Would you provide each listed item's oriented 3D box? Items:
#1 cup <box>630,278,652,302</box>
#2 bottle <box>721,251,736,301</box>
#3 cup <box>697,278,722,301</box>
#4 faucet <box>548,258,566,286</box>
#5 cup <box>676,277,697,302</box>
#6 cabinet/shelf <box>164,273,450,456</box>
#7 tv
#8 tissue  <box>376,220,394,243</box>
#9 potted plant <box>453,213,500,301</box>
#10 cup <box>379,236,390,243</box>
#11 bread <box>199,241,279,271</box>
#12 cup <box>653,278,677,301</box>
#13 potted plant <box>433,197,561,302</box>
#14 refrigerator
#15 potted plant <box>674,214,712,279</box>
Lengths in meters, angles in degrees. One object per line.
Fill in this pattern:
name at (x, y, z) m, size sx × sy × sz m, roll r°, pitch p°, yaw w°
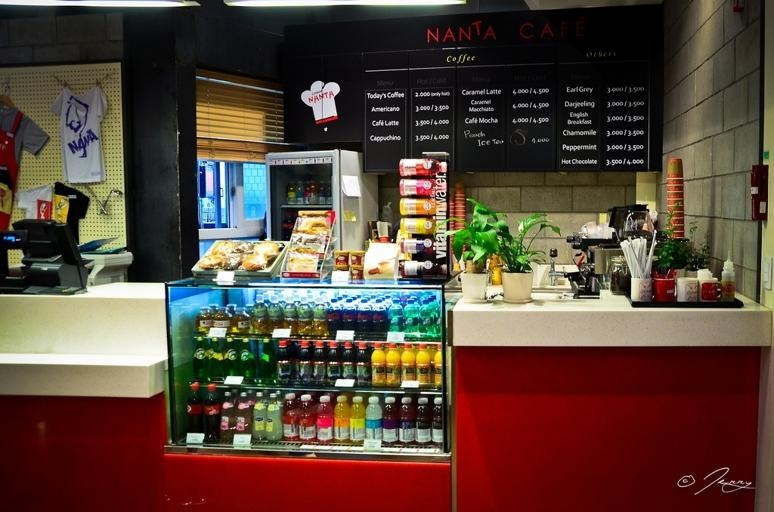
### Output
cup at (1.580, 0.212, 3.812) m, size 0.125 × 0.133 × 0.139 m, roll 1°, pitch -4°, yaw -13°
bottle at (2.111, 0.132, 3.730) m, size 0.071 × 0.289 × 0.164 m, roll -2°, pitch -3°, yaw 38°
cup at (1.989, 0.208, 3.698) m, size 0.137 × 0.137 × 0.068 m, roll 0°, pitch -2°, yaw -23°
faucet at (1.403, 0.135, 4.951) m, size 0.084 × 0.203 × 0.302 m, roll 0°, pitch 5°, yaw 6°
cup at (1.849, 0.211, 3.704) m, size 0.125 × 0.142 × 0.060 m, roll -1°, pitch -2°, yaw 23°
cabinet/shelf at (-0.477, 0.724, 4.201) m, size 1.852 × 1.074 × 0.670 m, roll 0°, pitch 2°, yaw 8°
tv at (-2.370, 0.003, 4.266) m, size 0.485 × 0.479 × 0.277 m, roll 2°, pitch 2°, yaw 25°
tissue  at (0.019, -0.263, 6.348) m, size 0.193 × 0.252 × 0.265 m, roll -1°, pitch -2°, yaw 27°
potted plant at (0.588, -0.010, 3.955) m, size 0.288 × 0.612 × 0.399 m, roll -1°, pitch -2°, yaw 7°
cup at (-0.006, -0.150, 5.326) m, size 0.067 × 0.048 × 0.066 m, roll 0°, pitch -4°, yaw 0°
bread at (-0.947, 0.000, 3.974) m, size 0.357 × 0.071 × 0.253 m, roll 3°, pitch 32°, yaw 6°
cup at (1.727, 0.210, 3.734) m, size 0.125 × 0.148 × 0.065 m, roll -1°, pitch -2°, yaw 17°
potted plant at (0.688, 0.006, 3.854) m, size 0.780 × 0.604 × 0.757 m, roll -1°, pitch 1°, yaw 22°
refrigerator at (-0.638, -0.573, 6.203) m, size 1.184 × 1.010 × 0.697 m, roll 0°, pitch -2°, yaw -9°
potted plant at (2.218, -0.091, 4.314) m, size 0.173 × 0.393 × 1.048 m, roll -1°, pitch -2°, yaw 28°
